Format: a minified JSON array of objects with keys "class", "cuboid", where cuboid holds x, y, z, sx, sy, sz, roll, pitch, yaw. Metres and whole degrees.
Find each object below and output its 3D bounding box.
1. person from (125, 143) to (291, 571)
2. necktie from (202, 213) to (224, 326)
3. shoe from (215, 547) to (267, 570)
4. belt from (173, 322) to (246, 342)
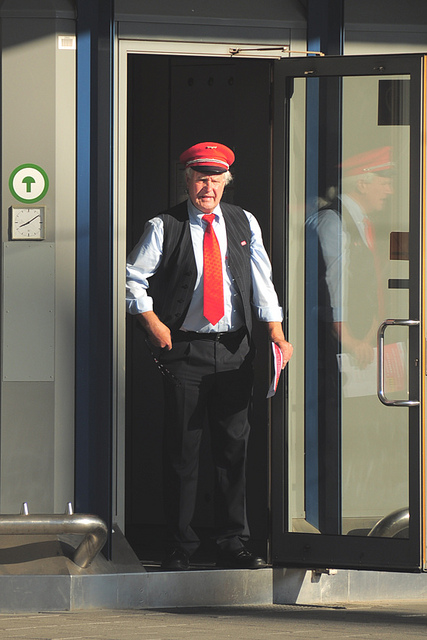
[{"class":"person","cuboid":[-0.042,0.136,4.931,0.650,1.737,0.702,1,1,-5]},{"class":"necktie","cuboid":[-0.004,-0.192,4.788,0.081,0.397,0.137,1,1,-7]},{"class":"shoe","cuboid":[0.105,0.951,4.729,0.203,0.099,0.080,-7,-13,27]},{"class":"belt","cuboid":[-0.015,0.051,4.784,0.284,0.070,0.061,1,1,-11]}]
